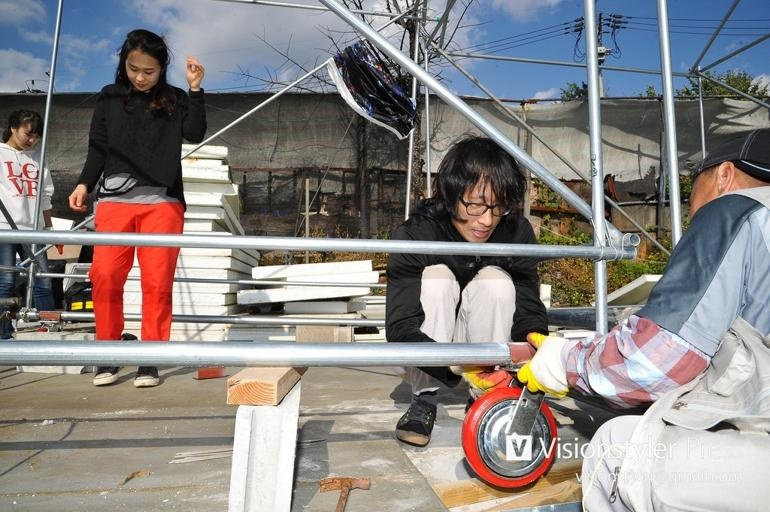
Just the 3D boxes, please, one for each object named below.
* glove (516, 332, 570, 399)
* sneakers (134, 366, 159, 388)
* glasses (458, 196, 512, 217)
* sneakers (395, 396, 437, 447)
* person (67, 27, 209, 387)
[{"bbox_3d":[0.688,0.464,2.824,0.256,0.245,0.101,17,1,31],"label":"glove"},{"bbox_3d":[-1.508,0.771,4.227,0.102,0.109,0.289,1,-10,-9],"label":"sneakers"},{"bbox_3d":[0.518,-0.256,3.427,0.255,0.105,0.090,2,12,4],"label":"glasses"},{"bbox_3d":[0.164,0.846,3.424,0.167,0.209,0.220,4,13,15],"label":"sneakers"},{"bbox_3d":[-1.508,-0.245,4.112,0.853,2.209,0.701,-2,13,-9],"label":"person"}]
